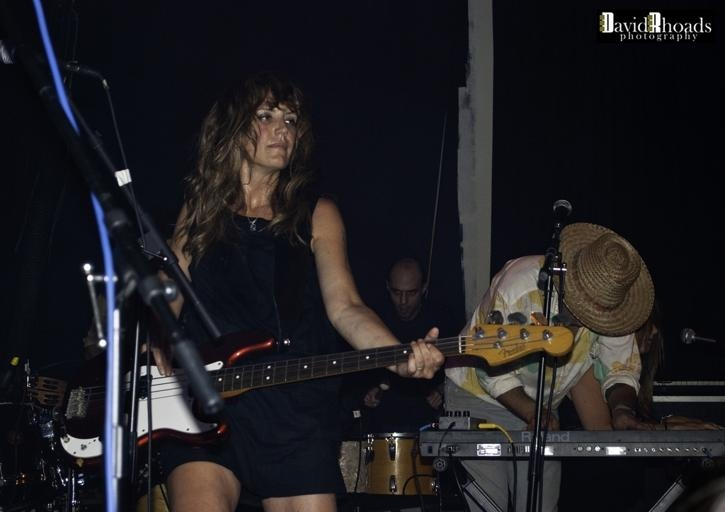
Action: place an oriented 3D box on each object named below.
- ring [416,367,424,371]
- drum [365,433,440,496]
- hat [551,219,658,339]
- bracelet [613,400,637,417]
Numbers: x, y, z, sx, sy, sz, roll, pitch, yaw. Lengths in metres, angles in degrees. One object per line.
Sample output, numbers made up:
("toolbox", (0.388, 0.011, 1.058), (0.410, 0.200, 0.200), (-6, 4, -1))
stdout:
("ring", (0.345, 0.682, 5.036), (0.043, 0.021, 0.013), (-7, 3, -16))
("drum", (0.283, 1.706, 6.792), (0.502, 0.427, 0.544), (0, -8, 0))
("hat", (1.683, 0.182, 5.754), (0.719, 0.826, 0.274), (-31, -1, -20))
("bracelet", (1.839, 1.092, 5.917), (0.152, 0.078, 0.201), (-6, 2, 20))
